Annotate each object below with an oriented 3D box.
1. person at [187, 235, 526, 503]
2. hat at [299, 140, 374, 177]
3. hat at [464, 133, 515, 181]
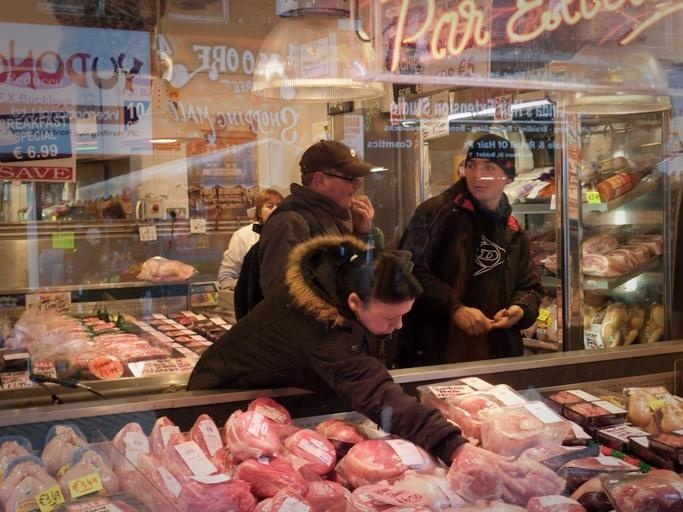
[{"bbox_3d":[-0.073,0.279,1.859,0.690,0.303,0.934,-1,13,-2],"label":"person"},{"bbox_3d":[-0.023,-0.433,2.599,0.338,0.170,0.214,-3,9,7],"label":"hat"},{"bbox_3d":[0.774,-0.502,2.969,0.227,0.223,0.277,7,-14,9],"label":"hat"}]
